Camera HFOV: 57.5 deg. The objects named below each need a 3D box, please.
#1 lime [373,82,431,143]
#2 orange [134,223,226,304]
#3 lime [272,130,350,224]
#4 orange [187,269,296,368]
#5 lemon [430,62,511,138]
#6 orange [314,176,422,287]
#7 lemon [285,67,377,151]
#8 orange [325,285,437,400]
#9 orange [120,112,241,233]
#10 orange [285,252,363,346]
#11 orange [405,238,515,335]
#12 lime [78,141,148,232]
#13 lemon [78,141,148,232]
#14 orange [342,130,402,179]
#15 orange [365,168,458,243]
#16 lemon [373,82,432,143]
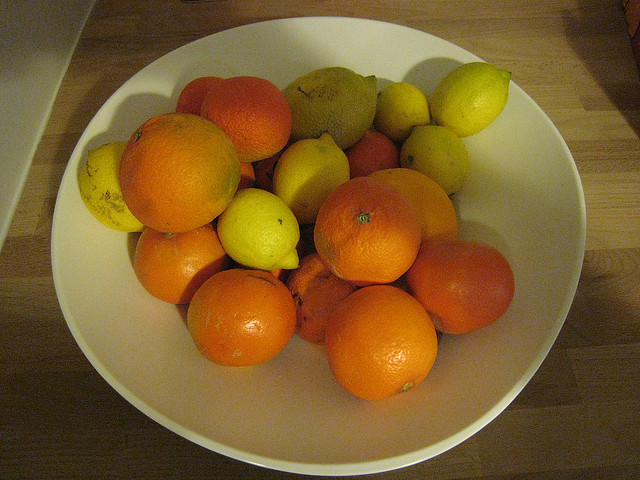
[{"bbox_3d":[0.139,-0.220,1.039,0.095,0.093,0.091,-2,40,-3],"label":"lime"},{"bbox_3d":[-0.214,0.030,0.902,0.118,0.116,0.113,7,101,12],"label":"orange"},{"bbox_3d":[-0.013,-0.108,0.964,0.132,0.110,0.171,-1,42,-1],"label":"lime"},{"bbox_3d":[-0.111,0.108,0.824,0.148,0.050,0.138,-20,83,-4],"label":"orange"},{"bbox_3d":[0.252,-0.240,0.979,0.110,0.066,0.124,33,83,4],"label":"lemon"},{"bbox_3d":[0.071,-0.008,0.877,0.140,0.140,0.151,-22,86,32],"label":"orange"},{"bbox_3d":[0.030,-0.225,1.002,0.134,0.132,0.217,7,37,8],"label":"lemon"},{"bbox_3d":[0.082,0.140,0.813,0.153,0.067,0.150,-23,83,-4],"label":"orange"},{"bbox_3d":[-0.196,-0.093,0.815,0.158,0.088,0.162,8,82,0],"label":"orange"},{"bbox_3d":[0.007,0.090,0.866,0.109,0.071,0.127,-14,74,6],"label":"orange"},{"bbox_3d":[0.203,0.074,0.867,0.173,0.132,0.135,0,82,-33],"label":"orange"},{"bbox_3d":[-0.320,-0.075,0.921,0.124,0.100,0.103,25,62,13],"label":"lime"},{"bbox_3d":[-0.320,-0.078,0.922,0.124,0.099,0.102,33,66,12],"label":"lemon"},{"bbox_3d":[0.093,-0.136,0.996,0.081,0.080,0.093,-3,75,16],"label":"orange"},{"bbox_3d":[0.139,-0.056,0.901,0.117,0.112,0.118,-7,109,-1],"label":"orange"},{"bbox_3d":[0.133,-0.224,1.027,0.098,0.099,0.115,-14,101,12],"label":"lemon"}]
